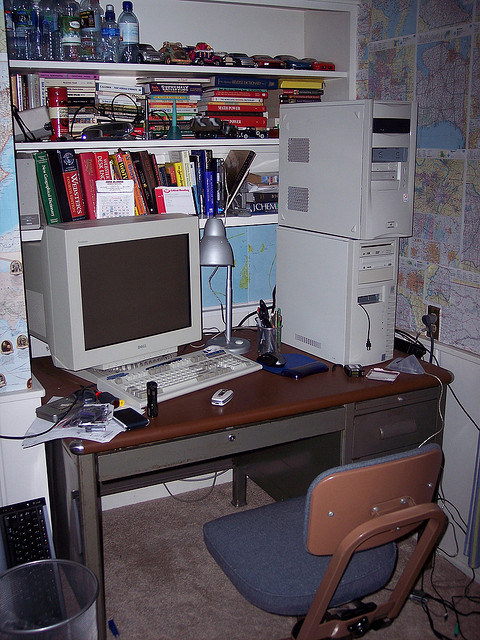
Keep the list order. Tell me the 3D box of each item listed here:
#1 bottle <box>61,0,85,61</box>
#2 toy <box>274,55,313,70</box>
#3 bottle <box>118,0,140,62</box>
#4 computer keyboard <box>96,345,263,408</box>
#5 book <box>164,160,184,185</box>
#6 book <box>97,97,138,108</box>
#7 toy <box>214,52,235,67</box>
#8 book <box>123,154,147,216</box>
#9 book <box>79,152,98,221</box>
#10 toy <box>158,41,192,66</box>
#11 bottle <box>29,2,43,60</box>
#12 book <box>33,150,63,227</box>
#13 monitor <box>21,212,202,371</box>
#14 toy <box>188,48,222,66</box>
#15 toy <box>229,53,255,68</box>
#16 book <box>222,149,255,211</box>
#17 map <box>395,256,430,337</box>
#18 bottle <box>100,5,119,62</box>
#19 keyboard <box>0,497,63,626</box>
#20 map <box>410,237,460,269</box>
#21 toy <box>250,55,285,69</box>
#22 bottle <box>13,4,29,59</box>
[{"bbox_3d":[-0.518,-0.893,1.558,0.060,0.195,0.093,-3,10,-17],"label":"bottle"},{"bbox_3d":[0.204,-0.983,1.942,0.080,0.039,0.127,-29,51,-32],"label":"toy"},{"bbox_3d":[-0.365,-0.934,1.660,0.066,0.216,0.146,-2,10,-10],"label":"bottle"},{"bbox_3d":[-0.178,0.155,1.564,0.267,0.079,0.540,13,14,39],"label":"computer keyboard"},{"bbox_3d":[-0.239,-0.528,1.828,0.025,0.072,0.073,-6,19,-17],"label":"book"},{"bbox_3d":[-0.421,-0.750,1.755,0.139,0.048,0.017,-8,12,-36],"label":"book"},{"bbox_3d":[-0.050,-0.936,1.814,0.046,0.031,0.075,-5,53,-10],"label":"toy"},{"bbox_3d":[-0.356,-0.464,1.700,0.024,0.183,0.155,-15,32,-6],"label":"book"},{"bbox_3d":[-0.476,-0.425,1.611,0.042,0.198,0.190,-7,25,-18],"label":"book"},{"bbox_3d":[-0.226,-0.910,1.794,0.090,0.071,0.143,-10,48,-19],"label":"toy"},{"bbox_3d":[-0.606,-0.856,1.510,0.045,0.136,0.069,-4,10,-21],"label":"bottle"},{"bbox_3d":[-0.586,-0.397,1.544,0.050,0.240,0.225,-7,11,-19],"label":"book"},{"bbox_3d":[-0.372,-0.088,1.446,0.074,0.423,0.431,11,17,40],"label":"monitor"},{"bbox_3d":[-0.133,-0.925,1.778,0.086,0.049,0.067,-11,46,-12],"label":"toy"},{"bbox_3d":[0.010,-0.947,1.846,0.056,0.045,0.099,-5,43,-12],"label":"toy"},{"bbox_3d":[-0.011,-0.541,1.952,0.149,0.229,0.112,4,10,22],"label":"book"},{"bbox_3d":[0.642,-0.087,1.955,0.074,0.310,0.157,1,16,-5],"label":"map"},{"bbox_3d":[-0.415,-0.906,1.622,0.063,0.152,0.047,-6,11,-29],"label":"bottle"},{"bbox_3d":[-0.553,0.683,1.354,0.138,0.353,0.221,-4,11,-22],"label":"keyboard"},{"bbox_3d":[0.686,-0.243,1.811,0.015,0.091,0.232,-4,11,-21],"label":"map"},{"bbox_3d":[0.096,-0.980,1.913,0.072,0.035,0.121,-5,46,-13],"label":"toy"},{"bbox_3d":[-0.635,-0.826,1.476,0.047,0.115,0.071,-5,11,-24],"label":"bottle"}]
